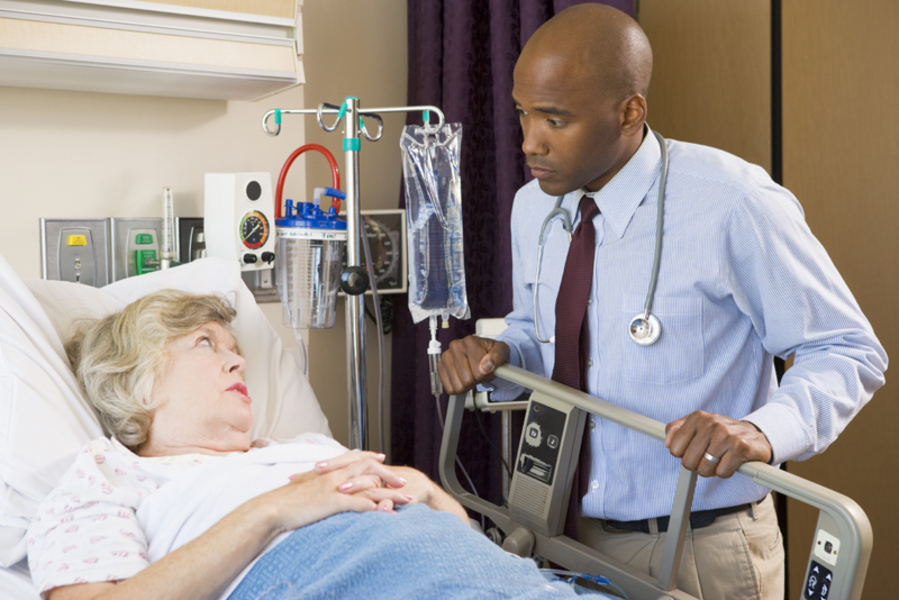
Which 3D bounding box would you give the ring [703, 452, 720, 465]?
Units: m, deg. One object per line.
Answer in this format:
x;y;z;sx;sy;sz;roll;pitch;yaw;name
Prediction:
0.550;0.330;1.570;0.020;0.006;0.021;39;-11;9;ring

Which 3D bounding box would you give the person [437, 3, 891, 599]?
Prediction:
0.527;0.028;1.856;0.966;1.497;0.549;4;10;32;person
